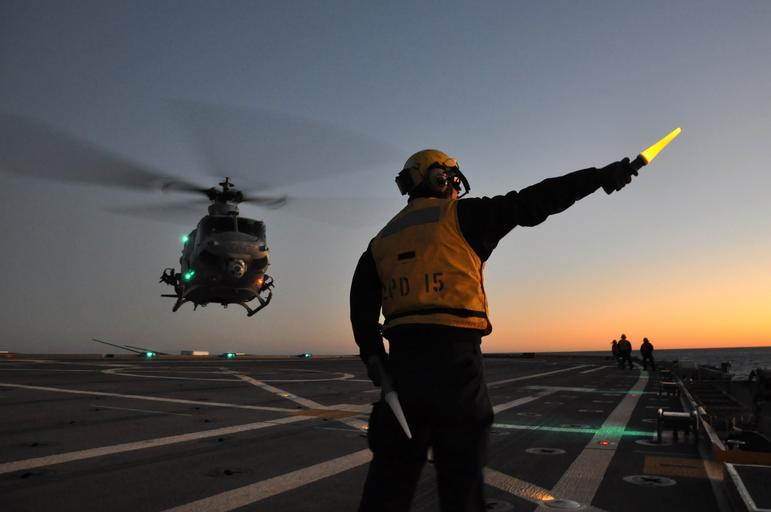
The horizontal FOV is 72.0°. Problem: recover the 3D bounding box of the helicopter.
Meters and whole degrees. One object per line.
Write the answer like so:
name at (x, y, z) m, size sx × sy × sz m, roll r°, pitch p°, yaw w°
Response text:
helicopter at (-5.544, -1.047, 16.668) m, size 7.400 × 2.587 × 6.927 m, roll 3°, pitch -4°, yaw -25°
